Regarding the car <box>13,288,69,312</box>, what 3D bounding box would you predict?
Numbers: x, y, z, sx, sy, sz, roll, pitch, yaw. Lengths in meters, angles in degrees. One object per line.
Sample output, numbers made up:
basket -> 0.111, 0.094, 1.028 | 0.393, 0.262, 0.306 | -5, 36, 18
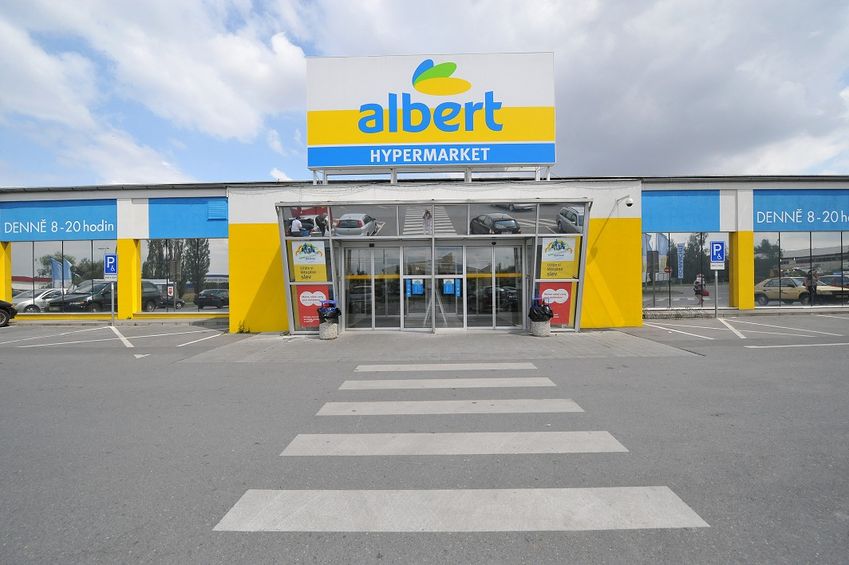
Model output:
car -> -17.119, 0.804, 26.844 | 1.657, 0.765, 1.013 | 8, -4, -24

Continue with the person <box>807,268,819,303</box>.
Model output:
person -> 16.713, 0.177, 26.354 | 0.381, 1.443, 0.509 | 1, 5, -11

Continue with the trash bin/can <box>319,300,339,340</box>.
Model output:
trash bin/can -> -3.192, 1.249, 20.097 | 0.650, 0.839, 0.894 | 0, 0, 2

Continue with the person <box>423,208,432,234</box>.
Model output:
person -> 0.102, -2.052, 20.455 | 0.295, 0.833, 0.149 | 0, 0, 8

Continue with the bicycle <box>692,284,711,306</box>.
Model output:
bicycle -> 11.718, 0.536, 25.702 | 0.652, 0.848, 0.309 | 0, -3, 17

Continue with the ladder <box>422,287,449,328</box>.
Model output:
ladder -> 0.395, 0.856, 20.987 | 0.835, 1.472, 0.276 | 0, 0, -1

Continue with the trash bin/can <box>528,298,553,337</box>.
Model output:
trash bin/can -> 3.802, 1.246, 20.399 | 1.078, 1.458, 1.069 | 0, -6, -2
